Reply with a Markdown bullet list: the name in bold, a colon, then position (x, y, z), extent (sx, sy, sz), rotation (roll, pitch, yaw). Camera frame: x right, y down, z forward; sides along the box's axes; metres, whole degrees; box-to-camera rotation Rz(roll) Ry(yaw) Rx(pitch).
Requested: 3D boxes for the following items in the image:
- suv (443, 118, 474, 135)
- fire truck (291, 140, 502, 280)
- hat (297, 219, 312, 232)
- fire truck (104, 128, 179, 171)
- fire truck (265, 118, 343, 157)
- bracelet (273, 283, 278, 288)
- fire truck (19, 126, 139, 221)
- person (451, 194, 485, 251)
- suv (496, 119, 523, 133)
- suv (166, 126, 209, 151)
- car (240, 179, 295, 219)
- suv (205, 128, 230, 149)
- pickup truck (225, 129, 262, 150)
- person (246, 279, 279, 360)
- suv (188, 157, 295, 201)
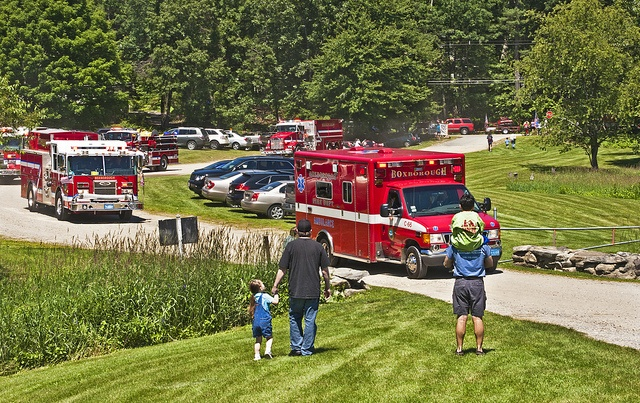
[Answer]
- **suv**: position (16.056, -8.510, 115.900), extent (2.911, 1.853, 2.729), rotation (-1, 3, 5)
- **fire truck**: position (3.460, 0.538, 48.584), extent (5.340, 4.827, 8.900), rotation (-4, 6, -35)
- **hat**: position (-0.650, 0.981, 40.399), extent (0.510, 0.509, 0.370), rotation (-2, 3, -3)
- **fire truck**: position (-12.848, -4.284, 73.698), extent (3.587, 2.114, 4.692), rotation (0, 0, 29)
- **fire truck**: position (-1.495, -5.433, 86.446), extent (3.865, 3.234, 6.498), rotation (5, 9, 40)
- **bracelet**: position (-1.775, 3.329, 40.464), extent (0.135, 0.232, 0.139), rotation (-1, 3, -30)
- **fire truck**: position (-14.691, -1.655, 59.946), extent (5.060, 4.787, 10.121), rotation (-2, 6, -34)
- **person**: position (5.879, 0.848, 40.146), extent (1.289, 2.204, 0.476), rotation (-1, 3, 7)
- **suv**: position (21.870, -8.386, 115.980), extent (2.563, 1.401, 1.809), rotation (-2, 6, 1)
- **suv**: position (-11.768, -5.533, 89.107), extent (3.700, 1.521, 1.759), rotation (3, 3, 2)
- **car**: position (-3.234, -0.063, 59.445), extent (4.682, 2.672, 1.857), rotation (0, 0, -27)
- **suv**: position (-9.182, -5.461, 89.548), extent (1.902, 1.773, 1.396), rotation (-2, 3, -4)
- **pickup truck**: position (-7.117, -5.521, 91.963), extent (3.210, 1.689, 3.342), rotation (-2, 3, -7)
- **person**: position (-2.299, 4.678, 40.449), extent (1.050, 3.190, 0.890), rotation (0, 3, 35)
- **suv**: position (-4.674, -1.277, 61.943), extent (7.940, 3.025, 3.047), rotation (-1, 0, -32)
